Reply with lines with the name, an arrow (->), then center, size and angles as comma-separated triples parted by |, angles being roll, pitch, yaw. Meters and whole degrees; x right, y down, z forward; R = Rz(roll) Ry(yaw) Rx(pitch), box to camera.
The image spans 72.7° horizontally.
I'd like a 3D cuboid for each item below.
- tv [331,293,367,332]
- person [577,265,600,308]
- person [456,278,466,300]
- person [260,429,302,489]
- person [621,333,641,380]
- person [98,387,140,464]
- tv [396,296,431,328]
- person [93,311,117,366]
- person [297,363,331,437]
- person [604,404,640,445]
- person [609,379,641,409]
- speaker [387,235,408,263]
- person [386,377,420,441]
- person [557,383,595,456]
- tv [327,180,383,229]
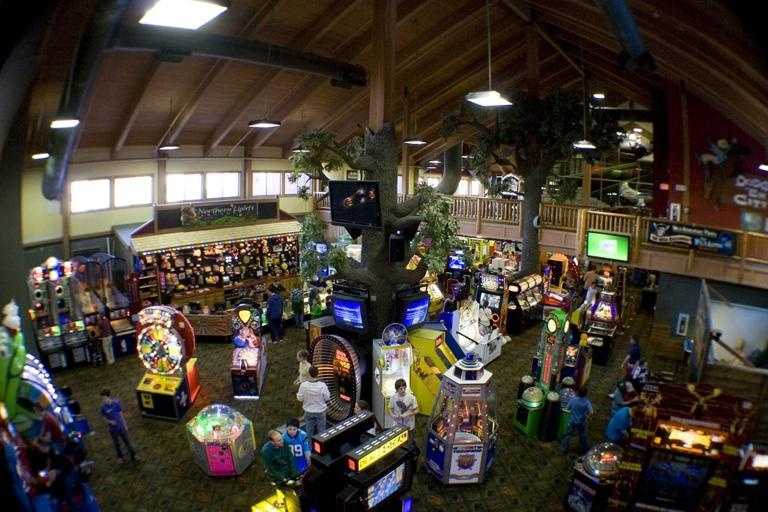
tv -> -0.736, 1.206, 12.108 | 0.930, 0.818, 0.519 | 8, 25, 31
person -> 6.561, 0.915, 16.726 | 0.415, 1.308, 0.409 | 11, 23, 18
person -> 2.532, 1.115, 17.283 | 0.413, 0.728, 0.362 | 8, 5, -8
person -> -1.672, 3.254, 8.476 | 0.502, 0.862, 0.658 | -7, 7, -43
person -> 5.859, 2.333, 12.317 | 0.287, 1.056, 1.062 | 1, 6, 24
person -> -5.212, 3.189, 10.233 | 0.515, 1.504, 1.082 | -4, 6, -27
tv -> 0.627, 1.242, 12.179 | 0.863, 0.785, 0.451 | -14, 31, -38
person -> -7.262, 2.124, 13.535 | 0.433, 1.303, 0.380 | -2, 5, 3
person -> -1.373, 2.942, 10.250 | 0.639, 1.686, 0.612 | 1, 14, 1
person -> 4.450, 3.220, 9.768 | 0.481, 0.809, 0.342 | -4, 6, -20
person -> 4.960, 2.837, 10.715 | 0.578, 0.543, 1.063 | -12, -38, 13
speaker -> 0.330, -0.177, 11.993 | 0.228, 0.627, 0.554 | 3, 7, 44
person -> 0.333, 3.161, 9.893 | 0.561, 1.637, 0.509 | 0, 5, 22
person -> 3.879, 3.212, 10.582 | 0.548, 1.477, 1.018 | 0, 6, 21
tv -> -0.635, -1.121, 11.223 | 1.402, 1.035, 0.157 | 8, 18, 36
